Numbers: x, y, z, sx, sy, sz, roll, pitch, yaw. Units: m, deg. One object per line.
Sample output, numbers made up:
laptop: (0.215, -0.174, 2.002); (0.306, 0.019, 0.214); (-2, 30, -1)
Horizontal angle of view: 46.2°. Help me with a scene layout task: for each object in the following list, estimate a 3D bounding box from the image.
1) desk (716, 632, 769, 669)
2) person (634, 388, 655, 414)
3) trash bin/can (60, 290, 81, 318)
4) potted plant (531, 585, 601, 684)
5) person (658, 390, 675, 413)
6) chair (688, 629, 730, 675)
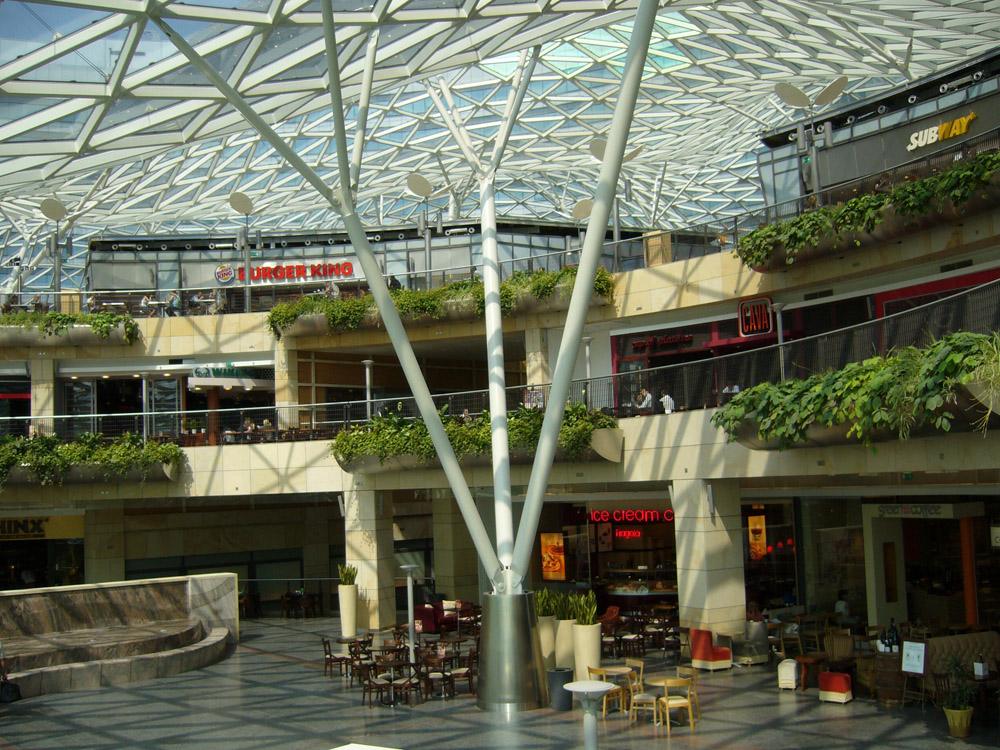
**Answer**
desk: (7.110, 8.107, 34.539); (1.040, 0.599, 1.060); (-5, -7, 40)
person: (4.468, 0.809, 36.260); (0.279, 0.764, 0.848); (2, -9, -25)
trash bin/can: (-18.086, -2.984, 50.071); (1.303, 1.158, 0.916); (0, 1, 15)
potted plant: (1.792, 7.257, 32.331); (0.853, 2.413, 1.987); (15, -23, -32)
person: (5.066, 0.821, 35.588); (0.215, 0.706, 0.561); (3, -10, -32)
chair: (6.054, 8.013, 34.091); (1.210, 1.431, 1.109); (-5, -9, 25)
